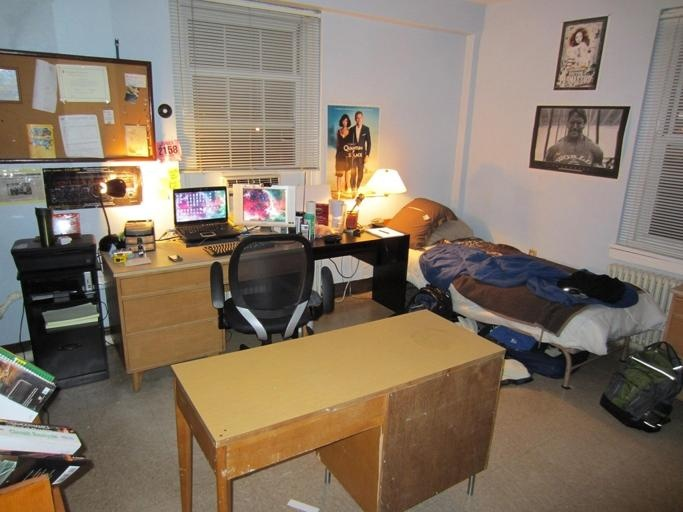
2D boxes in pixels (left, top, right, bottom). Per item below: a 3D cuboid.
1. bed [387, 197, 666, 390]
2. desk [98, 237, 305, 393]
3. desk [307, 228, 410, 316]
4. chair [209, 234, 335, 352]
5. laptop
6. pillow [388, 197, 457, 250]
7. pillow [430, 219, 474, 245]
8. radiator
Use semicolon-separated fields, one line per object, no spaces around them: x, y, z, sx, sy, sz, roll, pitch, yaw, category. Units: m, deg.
1.421;0.312;4.688;1.291;0.920;2.152;-13;22;-28;bed
-1.243;0.574;4.198;1.122;0.886;1.115;-13;-9;31;desk
0.109;0.175;4.942;0.940;0.792;0.547;-9;19;-26;desk
-0.530;0.363;3.734;0.842;1.102;0.751;-3;18;-23;chair
-1.095;-0.357;4.144;0.436;0.325;0.364;-7;26;-26;laptop
0.860;-0.404;5.354;0.617;0.191;0.467;-21;37;-40;pillow
1.169;-0.267;5.481;0.363;0.113;0.313;-11;19;-23;pillow
2.661;0.435;4.500;0.156;0.633;0.626;8;2;-22;radiator
